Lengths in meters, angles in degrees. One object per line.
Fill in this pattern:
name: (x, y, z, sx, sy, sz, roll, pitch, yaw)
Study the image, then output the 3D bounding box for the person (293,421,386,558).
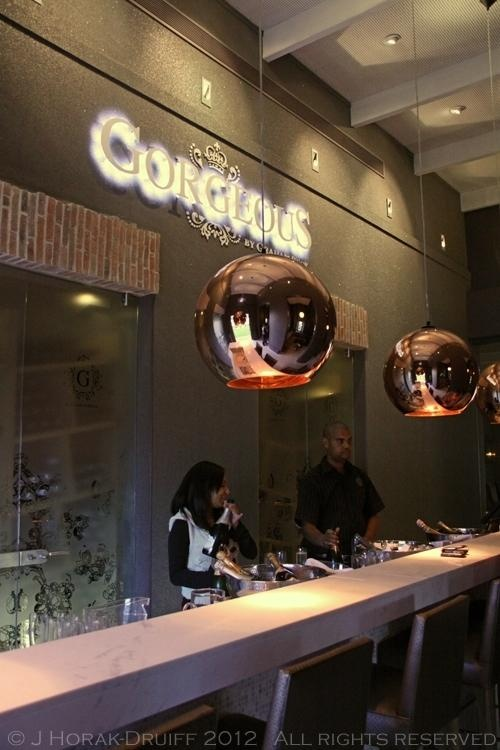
person: (0.580, 0.757, 4.032, 0.384, 0.906, 0.869, -1, 0, 38)

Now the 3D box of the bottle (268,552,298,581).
bottle: (0.117, 0.724, 2.229, 0.082, 0.060, 0.137, 16, 7, -28)

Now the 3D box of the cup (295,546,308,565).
cup: (0.219, 0.762, 2.537, 0.057, 0.100, 0.060, -1, -8, 0)
